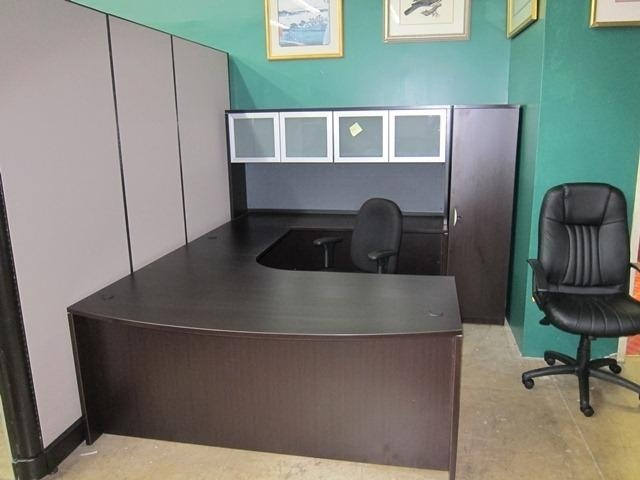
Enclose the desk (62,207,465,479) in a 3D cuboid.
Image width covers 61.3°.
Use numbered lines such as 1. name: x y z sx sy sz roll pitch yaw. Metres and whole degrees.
1. desk: -0.282 0.818 3.444 2.271 1.073 1.103 3 11 19
